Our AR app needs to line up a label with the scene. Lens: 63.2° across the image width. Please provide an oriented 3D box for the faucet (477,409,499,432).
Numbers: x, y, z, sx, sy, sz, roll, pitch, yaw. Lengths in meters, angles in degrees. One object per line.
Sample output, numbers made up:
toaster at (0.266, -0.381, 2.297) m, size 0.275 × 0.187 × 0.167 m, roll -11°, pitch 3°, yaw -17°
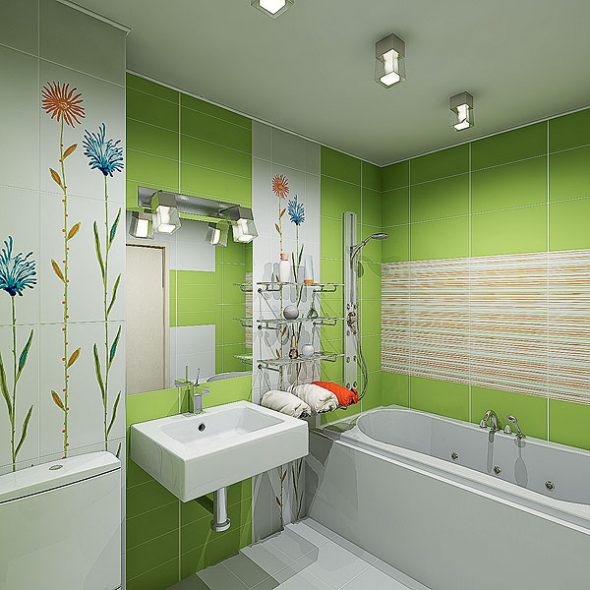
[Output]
faucet at (1.260, 0.827, 3.131) m, size 0.074 × 0.145 × 0.188 m, roll -5°, pitch -14°, yaw 38°

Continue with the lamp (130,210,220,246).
lamp at (-0.656, -0.340, 2.613) m, size 0.138 × 0.205 × 0.497 m, roll 8°, pitch -2°, yaw 42°

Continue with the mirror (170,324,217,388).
mirror at (-0.574, 0.330, 2.627) m, size 0.303 × 0.481 × 0.043 m, roll 2°, pitch -2°, yaw -44°

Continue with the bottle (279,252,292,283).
bottle at (-0.066, -0.185, 3.078) m, size 0.078 × 0.204 × 0.251 m, roll 0°, pitch 1°, yaw -1°

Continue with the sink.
sink at (-0.383, 0.748, 2.440) m, size 0.749 × 0.222 × 0.578 m, roll -1°, pitch 2°, yaw -44°

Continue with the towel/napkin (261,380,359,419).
towel/napkin at (0.080, 0.627, 2.920) m, size 0.288 × 0.126 × 0.369 m, roll -2°, pitch -1°, yaw -35°
